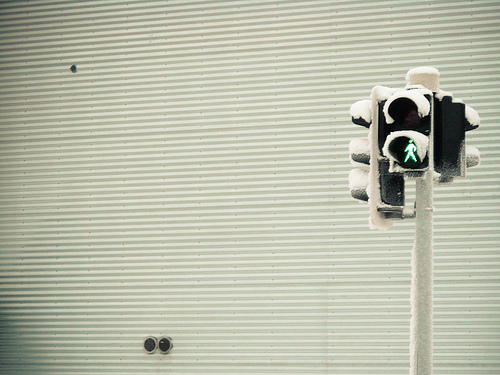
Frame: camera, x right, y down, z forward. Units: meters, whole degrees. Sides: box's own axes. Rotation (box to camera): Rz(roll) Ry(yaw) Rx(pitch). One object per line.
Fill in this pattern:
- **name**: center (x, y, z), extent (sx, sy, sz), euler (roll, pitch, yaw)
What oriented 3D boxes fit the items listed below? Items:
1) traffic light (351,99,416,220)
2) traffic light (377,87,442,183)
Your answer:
- **traffic light**: center (1.686, -0.370, 13.713), extent (0.774, 1.412, 0.588), euler (9, 8, 24)
- **traffic light**: center (1.900, -0.673, 13.441), extent (0.803, 1.107, 0.848), euler (3, -34, 8)
